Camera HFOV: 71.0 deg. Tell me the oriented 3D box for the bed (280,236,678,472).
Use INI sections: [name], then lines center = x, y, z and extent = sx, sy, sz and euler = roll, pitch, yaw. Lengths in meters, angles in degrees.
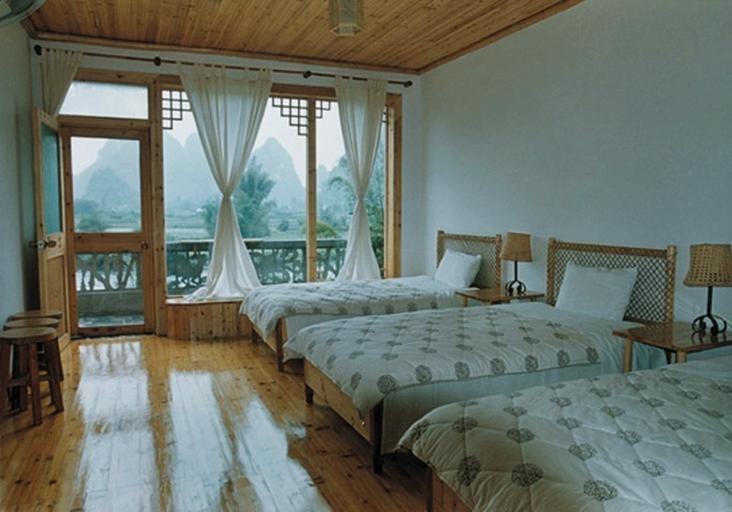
[bed]
center = 0.990, 0.666, 4.305
extent = 2.527, 1.422, 1.735
euler = -3, 6, -22
